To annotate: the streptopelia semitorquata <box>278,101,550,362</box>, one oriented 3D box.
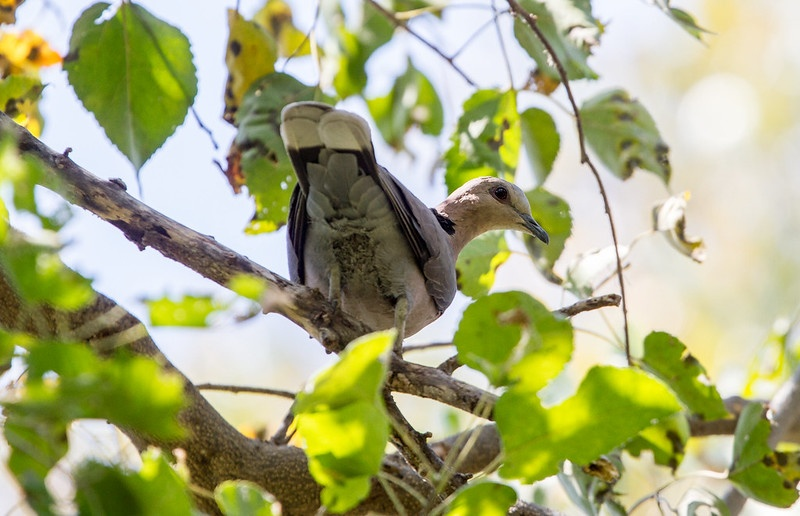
[{"bbox_3d":[0.072,-0.140,7.059,0.586,1.147,1.475,-10,-62,41],"label":"streptopelia semitorquata"}]
